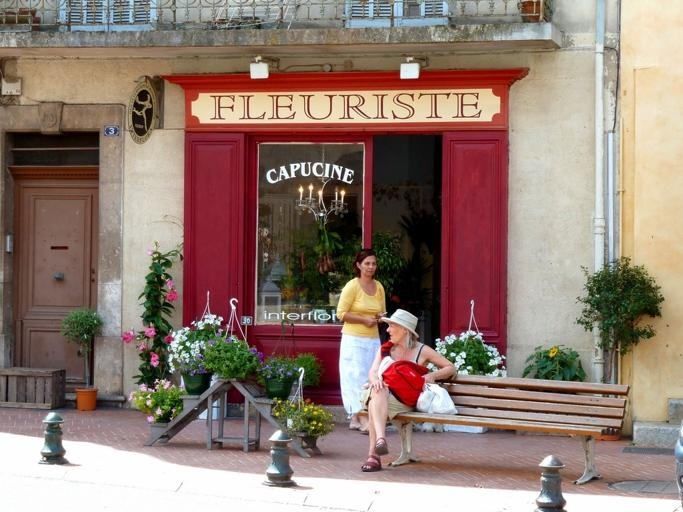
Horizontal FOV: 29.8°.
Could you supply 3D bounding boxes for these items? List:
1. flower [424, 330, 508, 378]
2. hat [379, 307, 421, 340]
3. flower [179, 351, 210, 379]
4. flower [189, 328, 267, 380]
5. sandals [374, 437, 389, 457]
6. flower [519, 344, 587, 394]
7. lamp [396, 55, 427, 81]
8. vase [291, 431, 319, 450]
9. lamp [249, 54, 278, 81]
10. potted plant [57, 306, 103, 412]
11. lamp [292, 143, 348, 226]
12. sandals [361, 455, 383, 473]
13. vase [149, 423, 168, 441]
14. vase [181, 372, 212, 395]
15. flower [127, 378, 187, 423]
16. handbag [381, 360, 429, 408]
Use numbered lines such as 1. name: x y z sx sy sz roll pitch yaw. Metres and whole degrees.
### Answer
1. flower: 1.705 1.266 16.729 0.736 0.468 0.687 6 -4 12
2. hat: 0.719 0.747 14.745 0.412 0.142 0.345 20 -7 -11
3. flower: -1.768 1.301 15.458 0.320 0.208 0.316 -1 -1 32
4. flower: -1.313 1.235 15.516 0.731 0.521 0.510 -1 -3 10
5. sandals: 0.454 2.110 14.266 0.150 0.212 0.228 -1 -3 1
6. flower: 2.684 1.411 16.784 0.477 0.314 0.523 15 5 -7
7. lamp: 0.960 -2.528 17.230 0.412 0.375 0.227 2 -1 9
8. vase: -0.412 2.115 14.962 0.248 0.142 0.285 2 -2 2
9. lamp: -1.062 -2.581 17.480 0.372 0.324 0.354 -1 7 6
10. potted plant: -3.562 1.414 17.904 0.545 1.387 0.639 -1 -3 9
11. lamp: -0.255 -0.839 17.833 0.696 0.857 0.672 7 -12 -25
12. sandals: 0.353 2.311 14.455 0.225 0.192 0.248 -1 -3 2
13. vase: -2.183 2.080 15.375 0.212 0.209 0.232 1 -1 -1
14. vase: -1.739 1.527 15.460 0.317 0.191 0.291 1 -9 0
15. flower: -2.196 1.745 15.735 0.718 0.454 0.692 8 -12 -38
16. handbag: 0.766 1.428 14.810 0.229 0.584 0.615 -11 7 22
